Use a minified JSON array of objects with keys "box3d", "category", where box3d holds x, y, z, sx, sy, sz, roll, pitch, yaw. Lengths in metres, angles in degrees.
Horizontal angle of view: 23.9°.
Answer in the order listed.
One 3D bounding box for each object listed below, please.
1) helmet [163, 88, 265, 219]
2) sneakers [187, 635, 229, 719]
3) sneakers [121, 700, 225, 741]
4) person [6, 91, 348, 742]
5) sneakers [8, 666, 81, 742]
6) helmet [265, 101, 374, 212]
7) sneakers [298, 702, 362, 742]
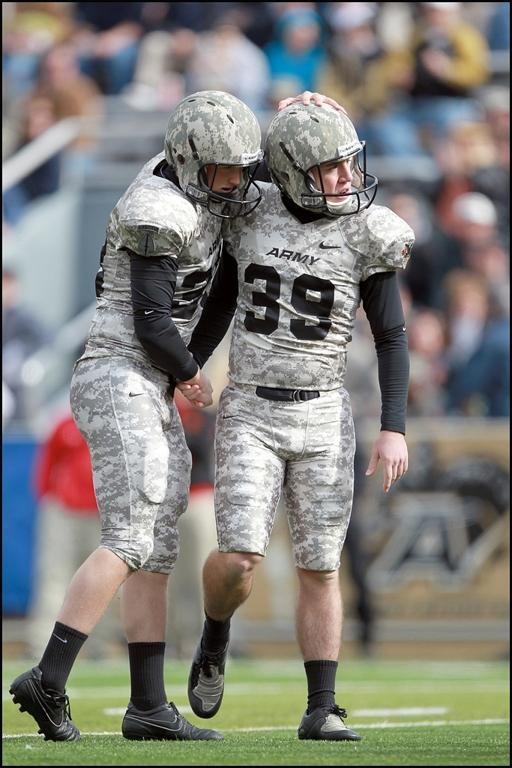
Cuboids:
[{"box3d":[-0.127,-0.717,3.663,0.275,0.313,0.361,-18,40,-40],"category":"helmet"},{"box3d":[-0.170,0.975,4.004,0.109,0.262,0.119,3,13,-4],"category":"sneakers"},{"box3d":[-0.223,1.007,3.617,0.370,0.119,0.104,3,-7,-5],"category":"sneakers"},{"box3d":[-0.317,0.112,3.581,0.508,1.772,1.278,4,28,14],"category":"person"},{"box3d":[-0.604,0.915,3.416,0.162,0.242,0.112,-10,28,-12],"category":"sneakers"},{"box3d":[0.186,-0.699,3.737,0.387,0.282,0.271,18,34,24],"category":"helmet"},{"box3d":[0.227,1.025,3.607,0.219,0.082,0.079,-11,-19,39],"category":"sneakers"}]
